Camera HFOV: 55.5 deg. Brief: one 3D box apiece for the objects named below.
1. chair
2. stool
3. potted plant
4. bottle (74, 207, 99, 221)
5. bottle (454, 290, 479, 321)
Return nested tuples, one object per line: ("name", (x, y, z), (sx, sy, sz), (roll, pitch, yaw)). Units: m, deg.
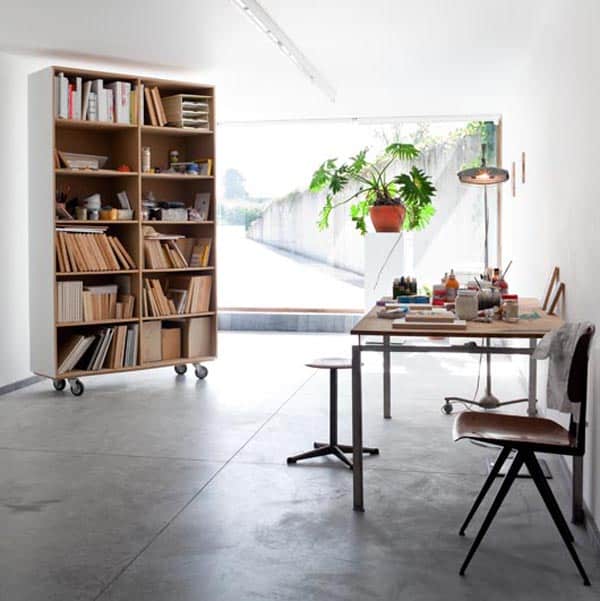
("chair", (0.802, 0.491, 2.030), (0.475, 0.834, 0.546), (0, 3, 16))
("stool", (0.142, 0.590, 3.346), (0.528, 0.744, 0.494), (-5, 7, -37))
("potted plant", (1.002, -1.247, 6.832), (1.513, 0.893, 1.373), (6, 5, 14))
("bottle", (-1.816, -0.720, 4.850), (0.146, 0.086, 0.116), (-2, 6, -23))
("bottle", (0.757, 0.022, 2.645), (0.102, 0.142, 0.123), (1, -4, -2))
